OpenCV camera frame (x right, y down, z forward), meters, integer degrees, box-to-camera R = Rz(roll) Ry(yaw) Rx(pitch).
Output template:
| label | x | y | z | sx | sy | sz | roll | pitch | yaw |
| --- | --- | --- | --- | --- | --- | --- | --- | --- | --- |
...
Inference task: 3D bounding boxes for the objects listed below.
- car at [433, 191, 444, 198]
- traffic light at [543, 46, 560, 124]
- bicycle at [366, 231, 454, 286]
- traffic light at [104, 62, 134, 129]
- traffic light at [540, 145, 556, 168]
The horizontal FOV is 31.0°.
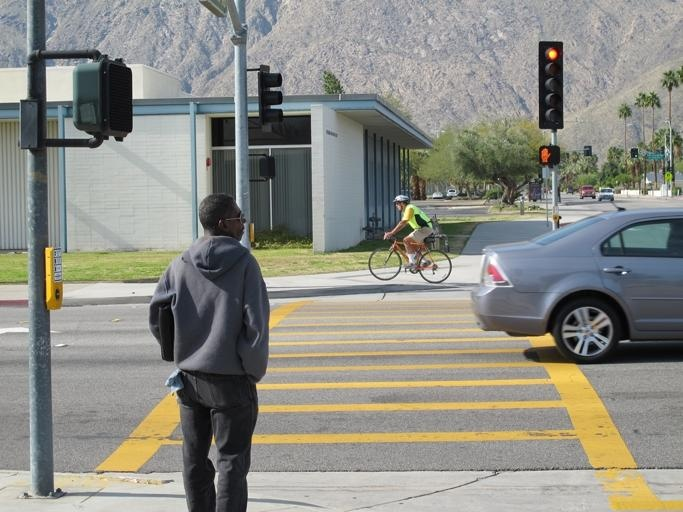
| label | x | y | z | sx | sy | sz | roll | pitch | yaw |
| --- | --- | --- | --- | --- | --- | --- | --- | --- | --- |
| car | 10.200 | -6.528 | 132.105 | 0.946 | 0.670 | 2.226 | 1 | 7 | 10 |
| traffic light | 4.129 | -3.321 | 23.989 | 0.404 | 1.549 | 0.317 | -2 | 6 | -21 |
| bicycle | 1.453 | 0.176 | 25.947 | 1.936 | 1.159 | 0.785 | -1 | 5 | 12 |
| traffic light | -2.198 | -1.580 | 12.302 | 0.194 | 0.779 | 0.374 | 1 | 6 | 6 |
| traffic light | 4.134 | -2.057 | 25.085 | 0.268 | 0.415 | 0.689 | 1 | 6 | 2 |
